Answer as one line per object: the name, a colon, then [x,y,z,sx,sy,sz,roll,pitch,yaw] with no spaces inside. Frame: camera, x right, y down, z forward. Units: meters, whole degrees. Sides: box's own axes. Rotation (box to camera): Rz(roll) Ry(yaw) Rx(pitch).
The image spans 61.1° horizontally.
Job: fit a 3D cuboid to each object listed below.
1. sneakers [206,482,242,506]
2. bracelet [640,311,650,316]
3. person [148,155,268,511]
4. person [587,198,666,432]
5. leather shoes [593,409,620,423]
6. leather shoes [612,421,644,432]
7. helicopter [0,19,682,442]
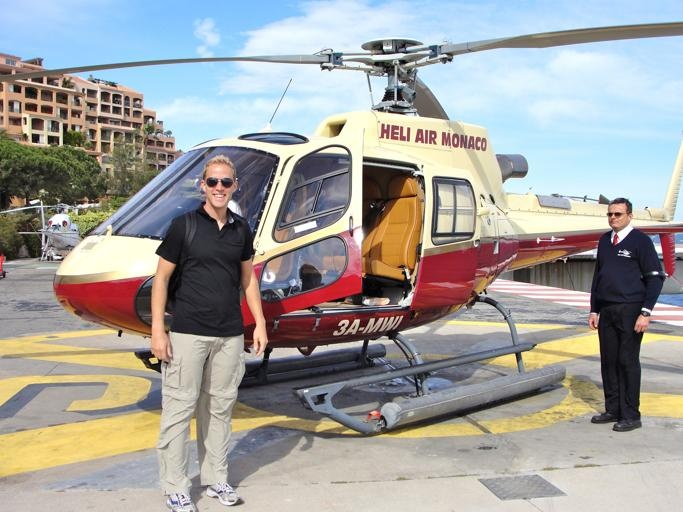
sneakers: [-0.896,1.694,4.139,0.321,0.090,0.128,1,-5,35]
bracelet: [2.896,0.555,5.530,0.064,0.033,0.065,6,2,43]
person: [-0.912,0.532,4.051,0.797,2.450,0.383,-1,5,-23]
person: [2.786,0.560,5.768,0.566,2.255,0.636,-1,5,-16]
leather shoes: [2.635,1.637,5.860,0.333,0.075,0.101,3,-9,-10]
leather shoes: [2.740,1.650,5.564,0.330,0.077,0.089,4,-9,-20]
helicopter: [0.266,-0.491,7.102,7.184,2.242,6.138,-3,5,-44]
